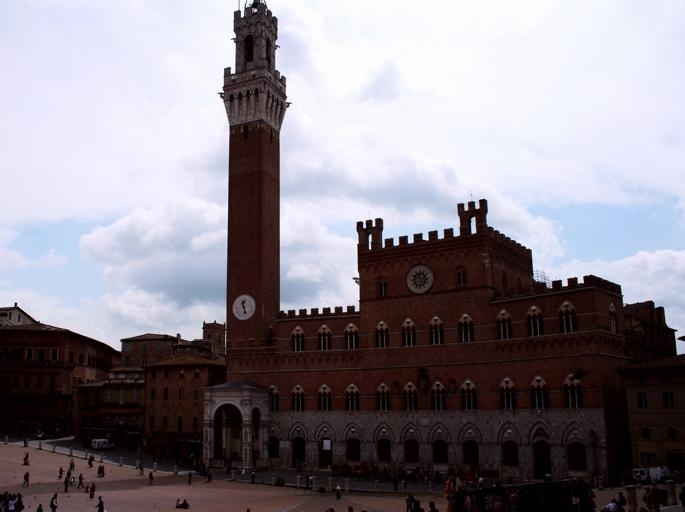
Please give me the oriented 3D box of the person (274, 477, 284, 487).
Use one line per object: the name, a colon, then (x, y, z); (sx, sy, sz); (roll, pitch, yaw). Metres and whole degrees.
person: (-6.101, 22.352, 82.398); (0.585, 0.834, 0.815); (5, -40, -11)
